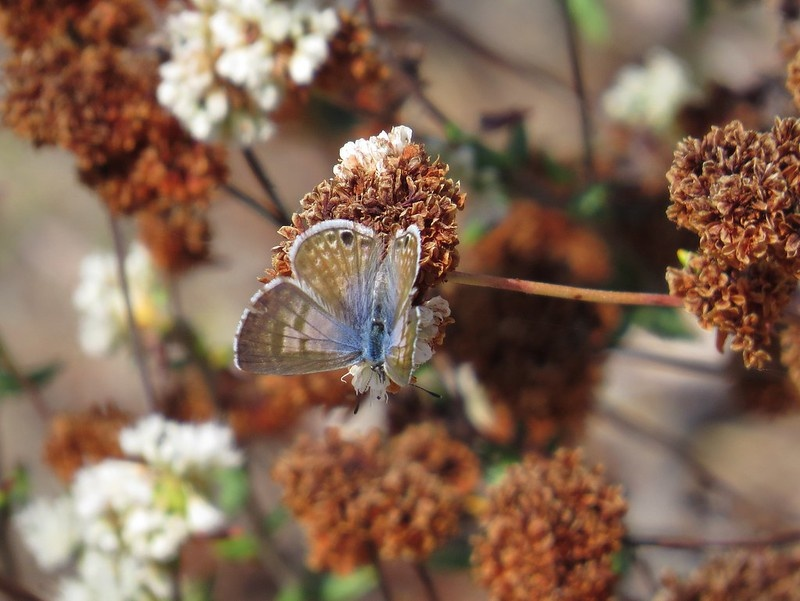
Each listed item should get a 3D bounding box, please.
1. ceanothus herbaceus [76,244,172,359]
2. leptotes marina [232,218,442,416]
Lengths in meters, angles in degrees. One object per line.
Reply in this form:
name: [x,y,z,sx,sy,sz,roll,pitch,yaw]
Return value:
ceanothus herbaceus: [-0.307,0.000,1.428,0.111,0.035,0.120,-15,90,2]
leptotes marina: [-0.053,0.017,1.266,0.185,0.096,0.189,29,114,30]
